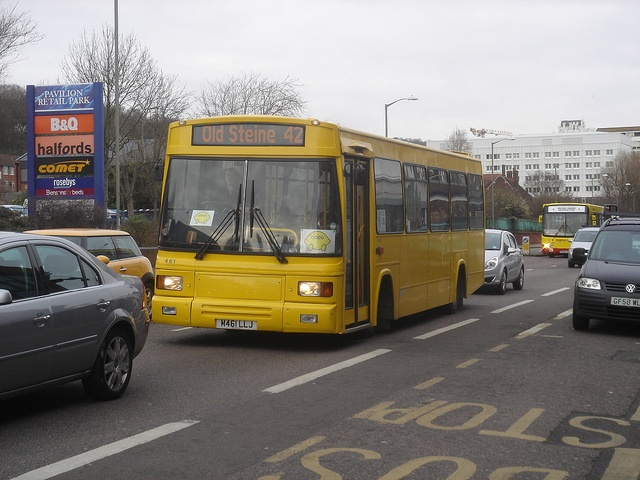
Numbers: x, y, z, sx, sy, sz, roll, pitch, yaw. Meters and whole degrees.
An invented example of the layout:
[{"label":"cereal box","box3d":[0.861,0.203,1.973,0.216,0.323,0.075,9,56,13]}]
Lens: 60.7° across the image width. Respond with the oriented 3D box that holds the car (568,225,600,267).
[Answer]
[{"label":"car","box3d":[16.148,-0.034,33.599,1.041,1.147,2.587,-8,-23,-9]}]
